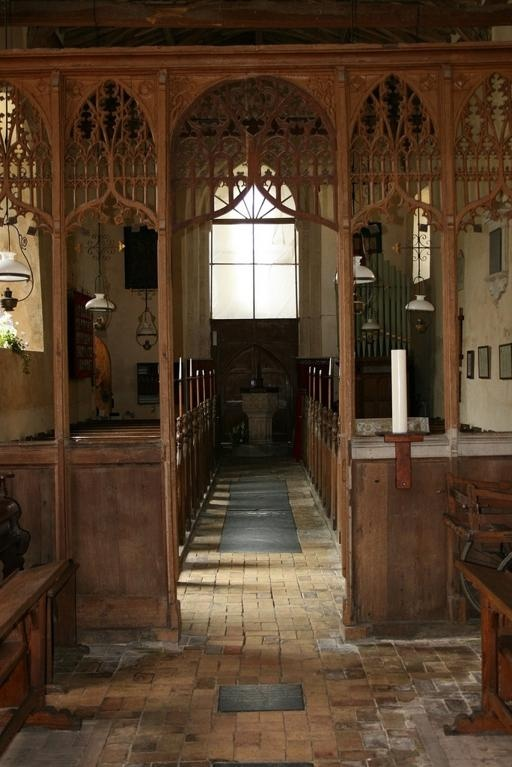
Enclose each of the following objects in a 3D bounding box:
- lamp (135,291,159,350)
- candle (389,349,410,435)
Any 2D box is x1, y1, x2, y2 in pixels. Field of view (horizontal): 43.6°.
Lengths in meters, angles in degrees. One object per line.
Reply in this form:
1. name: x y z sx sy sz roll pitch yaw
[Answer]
1. lamp: -2.291 -1.317 13.549 0.507 1.252 0.233 -2 -2 26
2. candle: 0.776 0.050 3.463 0.087 0.452 0.310 -1 -2 12
